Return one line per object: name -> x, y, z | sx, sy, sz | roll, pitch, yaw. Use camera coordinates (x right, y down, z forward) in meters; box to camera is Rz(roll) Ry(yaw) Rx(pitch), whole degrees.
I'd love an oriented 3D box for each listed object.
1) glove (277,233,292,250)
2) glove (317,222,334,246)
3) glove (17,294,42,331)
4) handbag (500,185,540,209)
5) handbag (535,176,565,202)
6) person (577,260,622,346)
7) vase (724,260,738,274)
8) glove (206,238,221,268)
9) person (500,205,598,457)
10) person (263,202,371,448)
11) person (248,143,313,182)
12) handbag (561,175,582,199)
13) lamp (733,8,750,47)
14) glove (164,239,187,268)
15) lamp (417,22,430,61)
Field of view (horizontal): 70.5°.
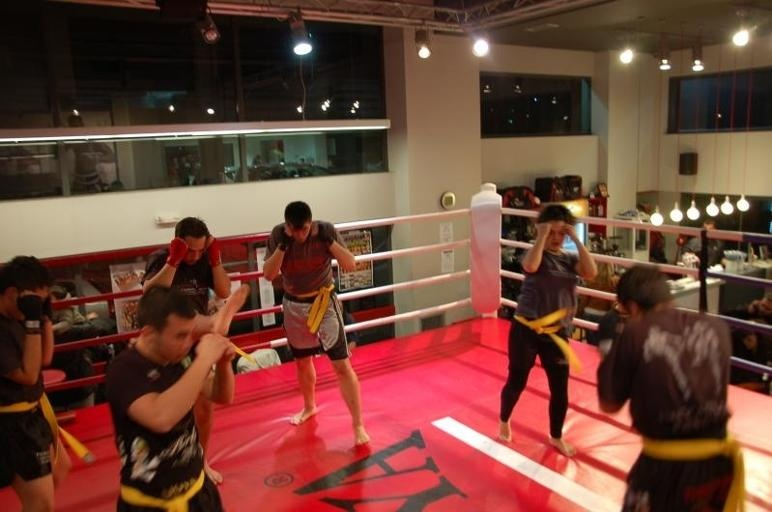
glove -> -0.720, -0.105, 3.880 | 0.077, 0.125, 0.026 | -5, 11, -11
glove -> -0.437, -0.167, 3.964 | 0.055, 0.119, 0.156 | -7, -23, 37
glove -> -2.066, 0.333, 3.204 | 0.067, 0.198, 0.134 | 7, -5, -33
handbag -> 2.270, -0.983, 9.357 | 0.549, 0.240, 0.471 | 1, 8, 4
handbag -> 2.987, -1.219, 10.001 | 0.533, 0.436, 0.353 | -8, 13, -24
person -> 2.391, 0.668, 6.133 | 0.476, 1.292, 0.411 | 3, 13, 34
vase -> 5.314, 0.166, 8.436 | 0.246, 0.207, 0.253 | 1, 7, 30
glove -> -1.178, -0.020, 3.750 | 0.099, 0.178, 0.051 | -3, 9, -16
person -> 1.130, 0.511, 3.865 | 0.689, 1.714, 0.509 | -3, 11, 1
person -> -0.500, 0.462, 4.079 | 0.771, 1.758, 0.387 | 1, 12, 19
person -> -1.505, -1.348, 7.633 | 0.913, 0.515, 0.170 | -12, 14, -36
handbag -> 3.475, -1.284, 10.183 | 0.379, 0.528, 0.454 | -2, 5, -15
lamp -> 5.228, -3.336, 8.109 | 0.218, 0.547, 0.277 | 9, -8, 8
glove -> -1.360, -0.026, 3.541 | 0.137, 0.180, 0.074 | 12, 3, -7
lamp -> 0.441, -2.617, 6.717 | 0.165, 0.363, 0.467 | -2, 12, 2
